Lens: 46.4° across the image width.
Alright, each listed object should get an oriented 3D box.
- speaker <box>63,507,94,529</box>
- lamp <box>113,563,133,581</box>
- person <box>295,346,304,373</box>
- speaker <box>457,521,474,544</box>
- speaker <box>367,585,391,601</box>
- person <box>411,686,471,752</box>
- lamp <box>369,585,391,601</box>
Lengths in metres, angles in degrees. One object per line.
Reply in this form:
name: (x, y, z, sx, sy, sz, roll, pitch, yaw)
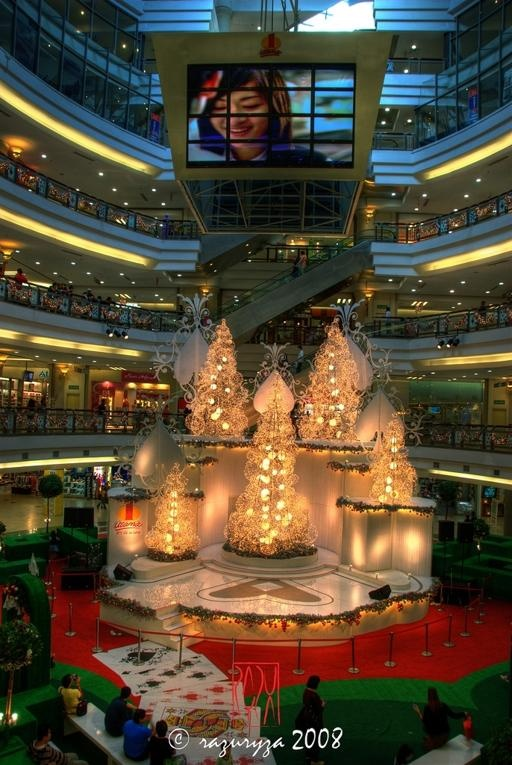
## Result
speaker: (-3.636, 2.785, 12.366, 0.699, 0.397, 0.350, -3, -8, 29)
lamp: (-2.384, 3.423, 10.719, 0.268, 0.251, 0.062, 2, 7, 24)
person: (1.433, -0.657, 19.476, 0.313, 0.812, 0.733, 1, -7, 5)
speaker: (4.300, 3.096, 12.309, 0.302, 0.424, 0.399, -1, -7, 17)
speaker: (2.058, 3.505, 9.933, 0.336, 0.263, 0.329, 0, -7, 5)
person: (1.883, 3.582, 6.198, 0.519, 0.908, 0.195, -2, 24, 4)
lamp: (2.063, 3.506, 9.915, 0.313, 0.181, 0.308, -1, -6, -41)
